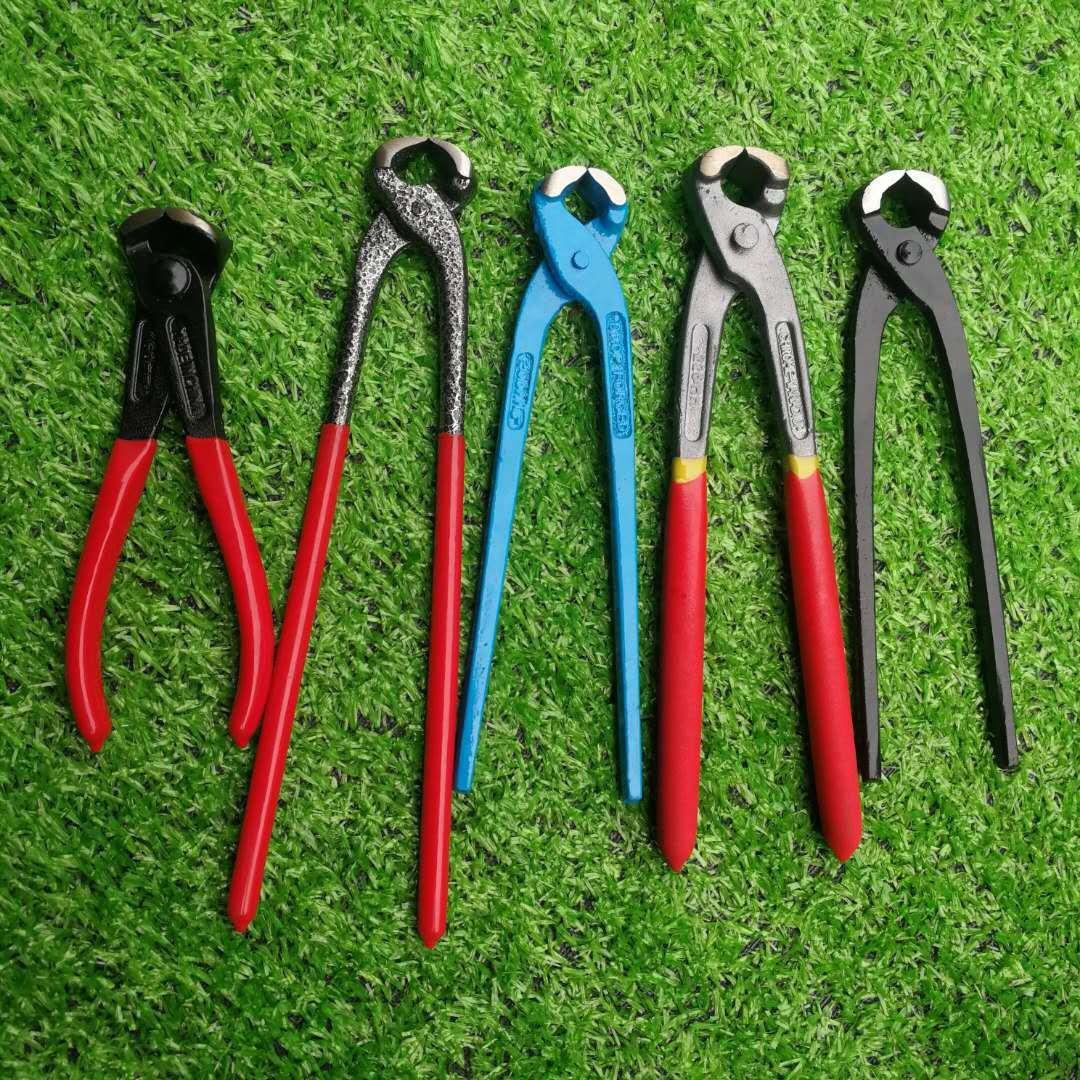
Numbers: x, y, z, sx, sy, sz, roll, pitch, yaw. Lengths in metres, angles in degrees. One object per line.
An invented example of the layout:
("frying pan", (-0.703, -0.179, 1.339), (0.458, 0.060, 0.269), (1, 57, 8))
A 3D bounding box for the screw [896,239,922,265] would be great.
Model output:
("screw", (0.341, -0.263, 1.103), (0.019, 0.023, 0.005), (-6, 2, -11))

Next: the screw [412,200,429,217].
("screw", (-0.106, -0.288, 1.050), (0.012, 0.015, 0.003), (-3, -1, -1))

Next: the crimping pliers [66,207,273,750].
("crimping pliers", (-0.295, -0.045, 1.014), (0.170, 0.449, 0.139), (7, 8, -12))

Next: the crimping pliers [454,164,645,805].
("crimping pliers", (0.040, -0.053, 1.069), (0.163, 0.540, 0.169), (8, 7, -3))
